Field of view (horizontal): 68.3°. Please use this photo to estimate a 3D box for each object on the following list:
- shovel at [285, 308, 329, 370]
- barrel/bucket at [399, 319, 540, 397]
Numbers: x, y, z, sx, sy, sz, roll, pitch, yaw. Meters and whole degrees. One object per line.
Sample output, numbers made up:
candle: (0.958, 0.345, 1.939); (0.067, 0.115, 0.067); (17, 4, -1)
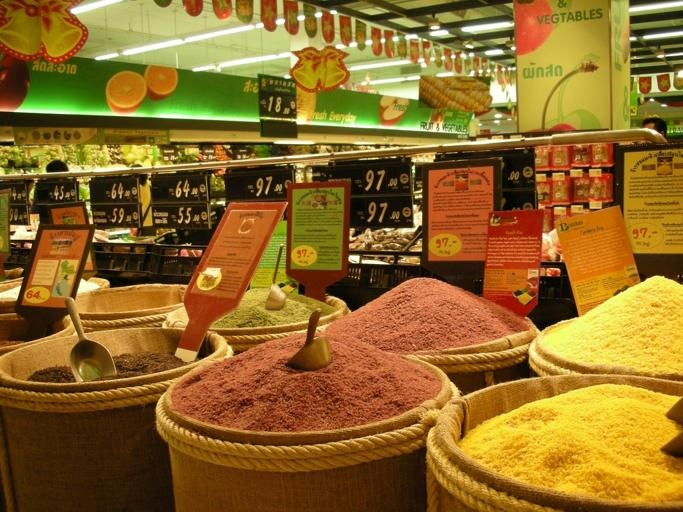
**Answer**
shovel: (-0.087, 0.239, 1.421); (0.176, 0.139, 0.173); (4, -9, 5)
barrel/bucket: (0.380, 0.279, 1.663); (0.475, 0.162, 0.316); (-6, 13, -35)
